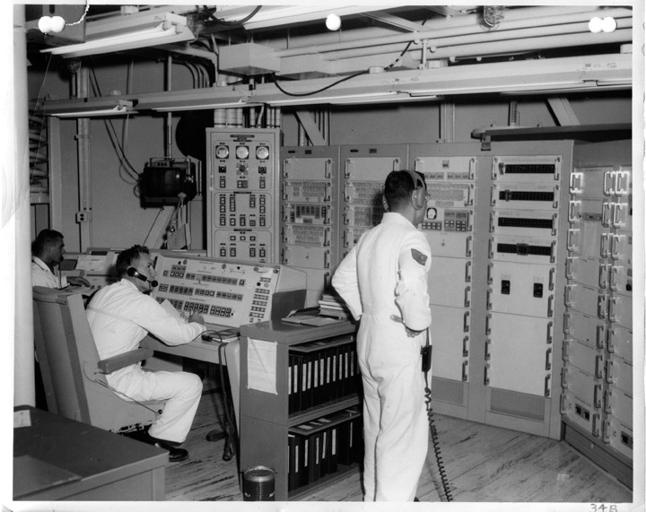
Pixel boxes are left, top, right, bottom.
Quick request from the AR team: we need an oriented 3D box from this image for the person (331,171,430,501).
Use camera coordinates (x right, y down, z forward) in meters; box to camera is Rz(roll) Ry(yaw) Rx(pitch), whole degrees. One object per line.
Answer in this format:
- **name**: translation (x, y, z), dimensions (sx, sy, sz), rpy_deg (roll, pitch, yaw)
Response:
- **person**: translation (0.429, 0.590, 3.996), dimensions (0.483, 2.255, 0.732), rpy_deg (-1, 7, -13)

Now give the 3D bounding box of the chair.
- **chair**: translation (-1.671, 0.684, 4.692), dimensions (0.811, 1.121, 0.985), rpy_deg (11, 14, 22)

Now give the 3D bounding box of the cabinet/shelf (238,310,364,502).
- **cabinet/shelf**: translation (-0.147, 1.120, 4.652), dimensions (0.453, 1.159, 1.211), rpy_deg (-1, -4, 26)

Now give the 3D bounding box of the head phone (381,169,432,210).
- **head phone**: translation (0.560, -0.452, 4.146), dimensions (0.283, 0.271, 0.278), rpy_deg (-20, 23, -20)

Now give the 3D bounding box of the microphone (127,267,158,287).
- **microphone**: translation (-1.416, 0.152, 4.865), dimensions (0.165, 0.061, 0.142), rpy_deg (26, 3, -2)
